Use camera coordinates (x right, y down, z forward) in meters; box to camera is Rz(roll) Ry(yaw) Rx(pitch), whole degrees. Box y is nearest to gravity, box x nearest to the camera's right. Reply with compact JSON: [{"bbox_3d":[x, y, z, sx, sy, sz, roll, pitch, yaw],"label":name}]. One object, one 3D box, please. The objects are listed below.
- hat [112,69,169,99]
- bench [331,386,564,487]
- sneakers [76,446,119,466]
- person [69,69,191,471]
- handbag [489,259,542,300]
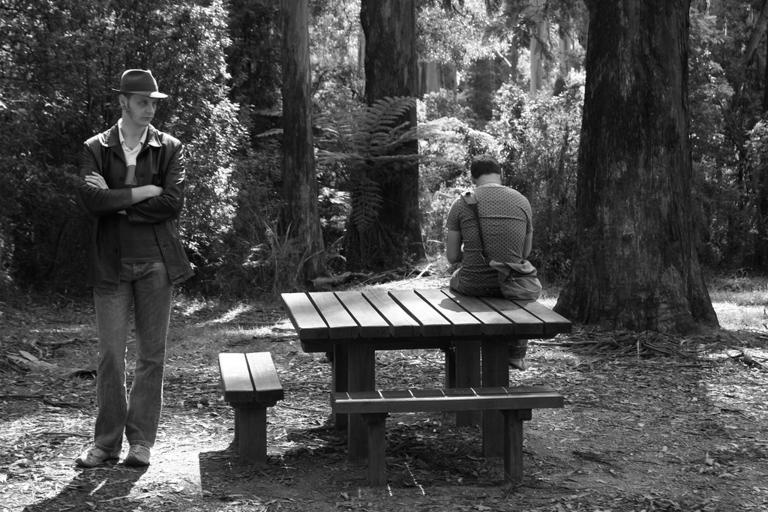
[{"bbox_3d":[-2.072,-1.441,6.533,0.346,0.235,0.343,-3,11,-20],"label":"hat"},{"bbox_3d":[0.513,1.585,6.513,1.890,0.836,0.611,-2,-2,6],"label":"bench"},{"bbox_3d":[-2.441,1.705,6.596,0.390,0.183,0.143,5,-2,-16],"label":"sneakers"},{"bbox_3d":[-2.145,0.117,6.562,0.945,3.294,0.683,-4,11,-25],"label":"person"},{"bbox_3d":[1.283,0.219,7.512,0.418,0.331,0.367,-3,4,-4],"label":"handbag"}]
